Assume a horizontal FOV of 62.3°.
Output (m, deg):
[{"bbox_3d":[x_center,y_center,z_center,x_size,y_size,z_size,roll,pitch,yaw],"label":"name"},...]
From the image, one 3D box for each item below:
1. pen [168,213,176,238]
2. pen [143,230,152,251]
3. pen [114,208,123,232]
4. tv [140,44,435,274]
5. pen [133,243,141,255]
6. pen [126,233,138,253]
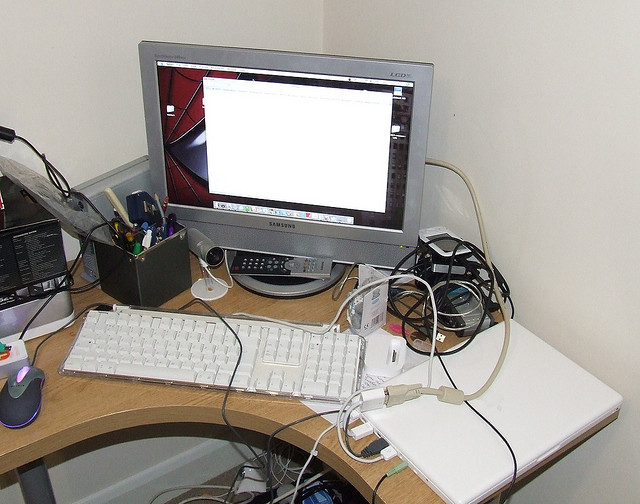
[{"bbox_3d":[-0.342,-0.066,1.229,0.008,0.016,0.057,33,29,-34],"label":"pen"},{"bbox_3d":[-0.382,-0.028,1.168,0.016,0.033,0.037,0,27,-8],"label":"pen"},{"bbox_3d":[-0.455,-0.072,1.194,0.010,0.052,0.015,-16,-4,-12],"label":"pen"},{"bbox_3d":[-0.079,-0.229,1.223,0.625,0.494,0.158,6,39,4],"label":"tv"},{"bbox_3d":[-0.401,-0.007,1.160,0.009,0.010,0.022,-3,27,4],"label":"pen"},{"bbox_3d":[-0.417,-0.019,1.168,0.008,0.037,0.034,-12,22,-27],"label":"pen"}]
